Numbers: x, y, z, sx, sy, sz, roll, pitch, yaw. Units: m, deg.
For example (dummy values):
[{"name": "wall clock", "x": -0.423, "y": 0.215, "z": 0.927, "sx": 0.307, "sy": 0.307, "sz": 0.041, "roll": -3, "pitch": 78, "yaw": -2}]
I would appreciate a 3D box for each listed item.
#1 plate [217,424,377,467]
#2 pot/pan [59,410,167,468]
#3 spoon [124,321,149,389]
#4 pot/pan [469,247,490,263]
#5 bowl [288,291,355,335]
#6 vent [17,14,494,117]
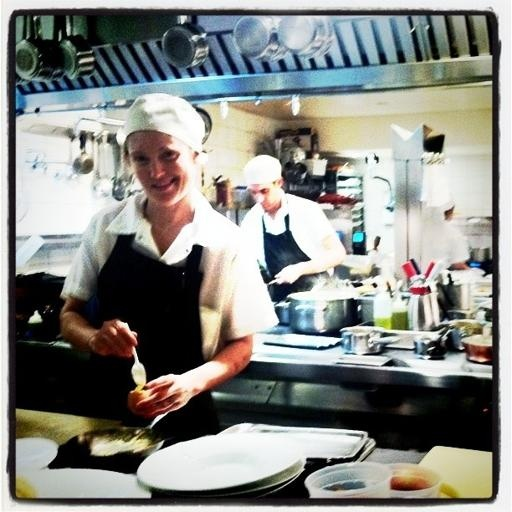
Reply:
[{"name": "plate", "x": 0.211, "y": 0.705, "z": 2.009, "sx": 0.348, "sy": 0.038, "sz": 0.181, "roll": 1, "pitch": 2, "yaw": 8}, {"name": "pot/pan", "x": -0.578, "y": 0.740, "z": 2.044, "sx": 0.384, "sy": 0.073, "sz": 0.209, "roll": -17, "pitch": 35, "yaw": -9}, {"name": "spoon", "x": -0.453, "y": 0.407, "z": 2.090, "sx": 0.084, "sy": 0.218, "sz": 0.109, "roll": 3, "pitch": 8, "yaw": 11}, {"name": "pot/pan", "x": 0.837, "y": -0.005, "z": 1.958, "sx": 0.071, "sy": 0.043, "sz": 0.056, "roll": -1, "pitch": 1, "yaw": 35}, {"name": "bowl", "x": 0.249, "y": 0.218, "z": 2.122, "sx": 0.273, "sy": 0.148, "sz": 0.318, "roll": 0, "pitch": 0, "yaw": 20}, {"name": "vent", "x": -0.053, "y": -0.784, "z": 2.033, "sx": 1.847, "sy": 0.284, "sz": 0.095, "roll": 0, "pitch": 0, "yaw": 7}]
